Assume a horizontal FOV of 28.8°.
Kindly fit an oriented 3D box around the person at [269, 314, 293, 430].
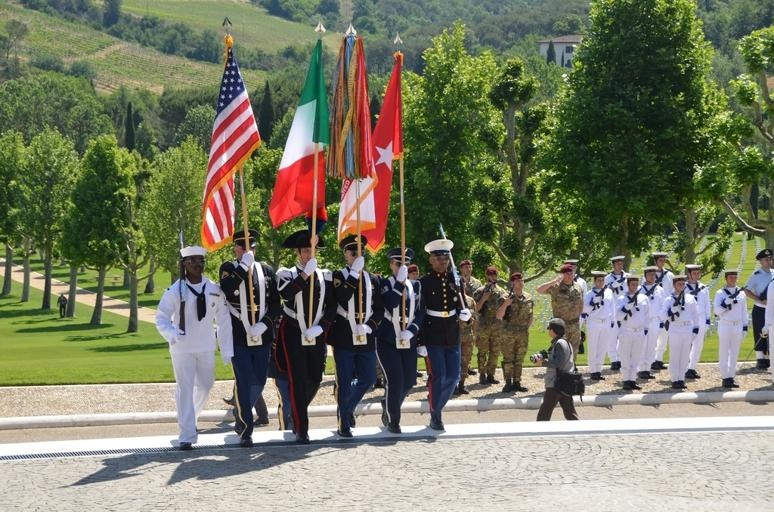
[{"bbox_3d":[-4.343,5.432,64.960,1.094,4.171,1.403,-2,-3,43],"label":"person"}]
